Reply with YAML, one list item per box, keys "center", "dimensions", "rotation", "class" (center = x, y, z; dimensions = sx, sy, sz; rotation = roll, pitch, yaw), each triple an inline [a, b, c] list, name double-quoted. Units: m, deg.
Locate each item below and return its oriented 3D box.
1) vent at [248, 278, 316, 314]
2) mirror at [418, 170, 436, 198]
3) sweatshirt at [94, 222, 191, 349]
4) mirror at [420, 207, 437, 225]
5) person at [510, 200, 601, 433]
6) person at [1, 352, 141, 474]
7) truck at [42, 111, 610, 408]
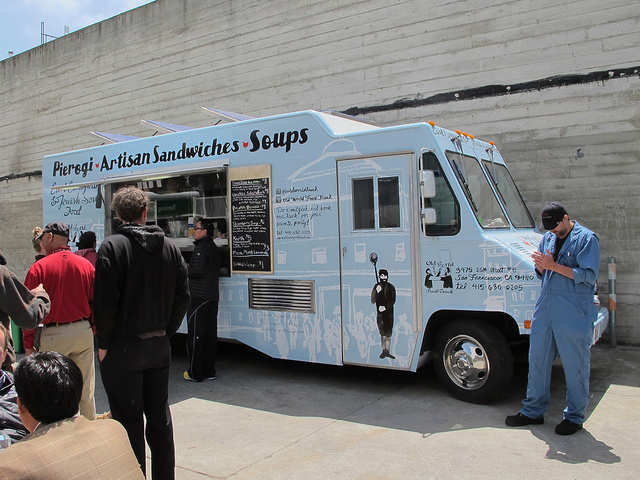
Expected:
- center: [-0.486, 0.728, 7.053]
  dimensions: [0.981, 0.425, 0.098]
  rotation: [0, 5, 25]
  class: "vent"
- center: [1.239, -0.656, 6.157]
  dimensions: [0.201, 0.325, 0.242]
  rotation: [-1, 5, 11]
  class: "mirror"
- center: [-1.462, 0.366, 4.380]
  dimensions: [0.741, 0.969, 0.264]
  rotation: [-3, 5, -19]
  class: "sweatshirt"
- center: [1.259, -0.283, 6.174]
  dimensions: [0.169, 0.177, 0.166]
  rotation: [1, -1, 20]
  class: "mirror"
- center: [2.435, 0.753, 5.399]
  dimensions: [0.692, 2.253, 0.493]
  rotation: [1, 6, 27]
  class: "person"
- center: [-1.433, 1.012, 3.064]
  dimensions: [0.686, 0.657, 0.512]
  rotation: [-4, 5, -24]
  class: "person"
- center: [-0.429, 0.029, 8.578]
  dimensions: [7.969, 3.661, 3.032]
  rotation: [-1, 4, 30]
  class: "truck"
